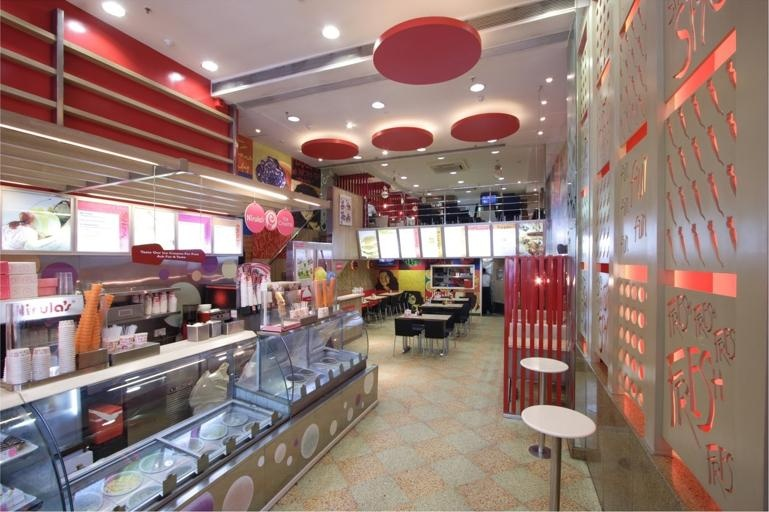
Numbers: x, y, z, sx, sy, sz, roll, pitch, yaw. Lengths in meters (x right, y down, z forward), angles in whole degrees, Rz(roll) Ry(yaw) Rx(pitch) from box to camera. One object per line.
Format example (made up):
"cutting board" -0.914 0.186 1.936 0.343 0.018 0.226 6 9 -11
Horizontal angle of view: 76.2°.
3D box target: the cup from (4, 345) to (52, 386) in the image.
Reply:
"cup" -3.076 0.916 4.271 0.304 0.320 0.333 0 -3 0

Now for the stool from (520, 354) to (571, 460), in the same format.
"stool" 1.978 1.820 5.751 0.645 1.030 0.638 6 -19 -8

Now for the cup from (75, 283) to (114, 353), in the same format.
"cup" -2.743 0.534 4.621 0.279 0.589 0.437 -4 15 -16

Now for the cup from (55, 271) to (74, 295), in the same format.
"cup" -4.086 0.334 6.248 0.237 0.358 0.252 -3 -5 0
